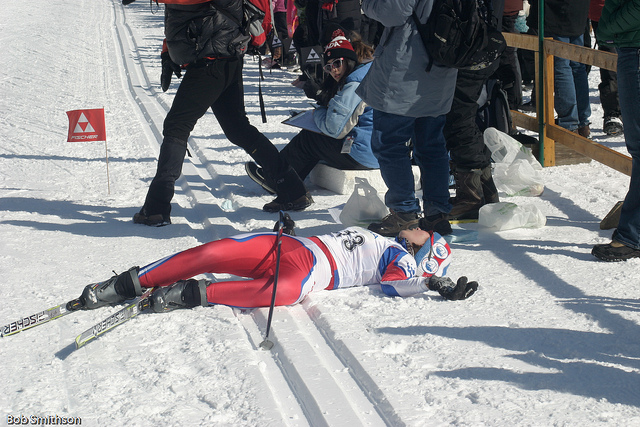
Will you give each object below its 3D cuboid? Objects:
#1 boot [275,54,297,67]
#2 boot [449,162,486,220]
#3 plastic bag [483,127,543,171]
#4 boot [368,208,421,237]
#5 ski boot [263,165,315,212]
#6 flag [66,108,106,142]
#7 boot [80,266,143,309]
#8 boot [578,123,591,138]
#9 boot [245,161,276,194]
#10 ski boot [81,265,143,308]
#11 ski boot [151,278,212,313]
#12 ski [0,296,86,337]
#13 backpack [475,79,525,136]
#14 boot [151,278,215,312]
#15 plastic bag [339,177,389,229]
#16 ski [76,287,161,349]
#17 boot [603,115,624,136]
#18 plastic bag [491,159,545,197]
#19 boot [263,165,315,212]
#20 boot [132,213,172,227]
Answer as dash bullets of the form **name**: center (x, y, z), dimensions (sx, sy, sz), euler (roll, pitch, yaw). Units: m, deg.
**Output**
- **boot**: center (-0.758, -3.568, 13.432), dimensions (0.527, 0.338, 0.771), euler (-1, 20, -12)
- **boot**: center (1.397, -0.206, 5.503), dimensions (0.364, 0.483, 0.326), euler (8, 20, 12)
- **plastic bag**: center (1.977, -0.607, 6.207), dimensions (0.661, 0.187, 0.378), euler (29, 34, -8)
- **boot**: center (0.664, 0.051, 5.031), dimensions (0.490, 0.272, 0.170), euler (-2, 23, 24)
- **ski boot**: center (-0.203, -0.217, 5.777), dimensions (0.664, 0.446, 0.260), euler (-2, 7, 1)
- **flag**: center (-2.536, -0.969, 6.255), dimensions (0.375, 0.344, 0.239), euler (-5, 21, -22)
- **boot**: center (-1.393, 0.519, 3.970), dimensions (0.537, 0.214, 0.165), euler (-14, -1, 10)
- **boot**: center (3.290, -1.025, 7.197), dimensions (0.142, 0.158, 0.453), euler (12, 21, 23)
- **boot**: center (-0.610, -0.375, 6.029), dimensions (0.124, 0.365, 0.155), euler (-47, 3, -32)
- **ski boot**: center (-1.303, 0.501, 3.968), dimensions (0.571, 0.165, 0.263), euler (-10, -5, 1)
- **ski boot**: center (-0.927, 0.537, 3.866), dimensions (0.352, 0.141, 0.193), euler (-7, 18, -22)
- **ski**: center (-1.832, 0.697, 3.832), dimensions (0.471, 0.049, 0.078), euler (-21, -4, -23)
- **backpack**: center (1.943, -1.175, 6.353), dimensions (0.414, 0.586, 0.224), euler (5, 20, 4)
- **boot**: center (-0.941, 0.554, 3.922), dimensions (0.433, 0.160, 0.223), euler (-12, 34, -17)
- **plastic bag**: center (0.454, -0.091, 5.304), dimensions (0.274, 0.443, 0.434), euler (11, 14, 41)
- **ski**: center (-1.315, 0.692, 3.766), dimensions (0.057, 0.073, 0.693), euler (-12, 16, 48)
- **boot**: center (3.847, -1.158, 7.575), dimensions (0.233, 0.230, 0.291), euler (8, 20, 14)
- **plastic bag**: center (2.034, -0.347, 5.953), dimensions (0.499, 0.194, 0.401), euler (5, 38, 2)
- **boot**: center (-0.318, -0.231, 5.882), dimensions (0.613, 0.425, 0.236), euler (-8, 11, 31)
- **boot**: center (-1.578, 0.044, 5.454), dimensions (0.288, 0.110, 0.139), euler (7, 4, 21)
